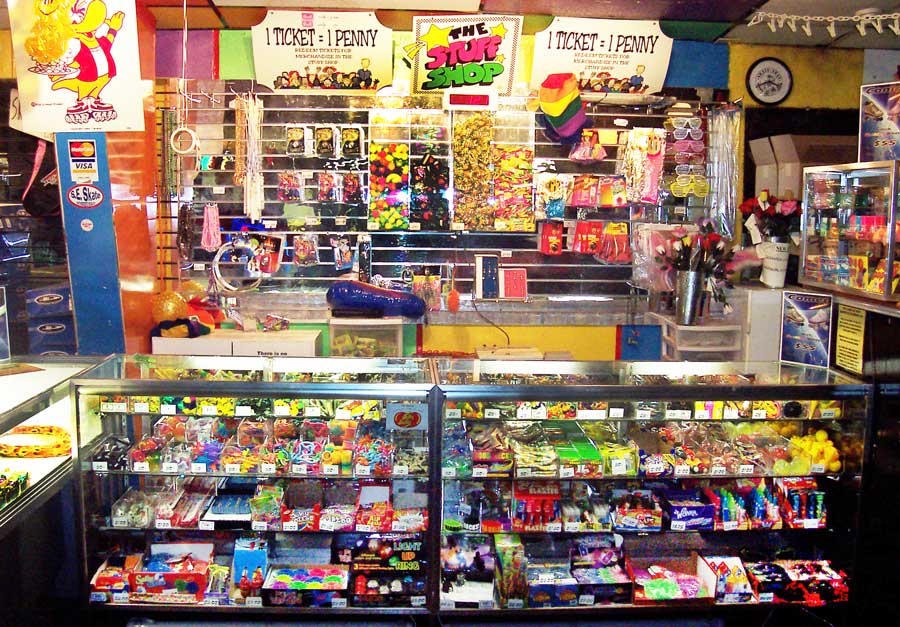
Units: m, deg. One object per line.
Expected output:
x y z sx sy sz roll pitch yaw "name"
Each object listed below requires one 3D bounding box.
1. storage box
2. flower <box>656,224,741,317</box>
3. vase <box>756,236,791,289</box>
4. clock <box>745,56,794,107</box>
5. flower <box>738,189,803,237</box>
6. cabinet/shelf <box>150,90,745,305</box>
3.025 -1.310 6.763 0.751 0.597 0.845 1 5 0 "storage box"
1.742 -0.325 6.202 0.684 0.792 0.726 1 4 -3 "flower"
2.405 -0.372 5.914 0.224 0.362 0.243 4 4 20 "vase"
2.809 -2.039 6.902 0.060 0.430 0.444 -28 26 -32 "clock"
2.442 -0.781 5.954 0.412 0.364 0.398 4 -2 -7 "flower"
0.005 -0.973 6.547 4.640 1.731 0.656 2 3 0 "cabinet/shelf"
